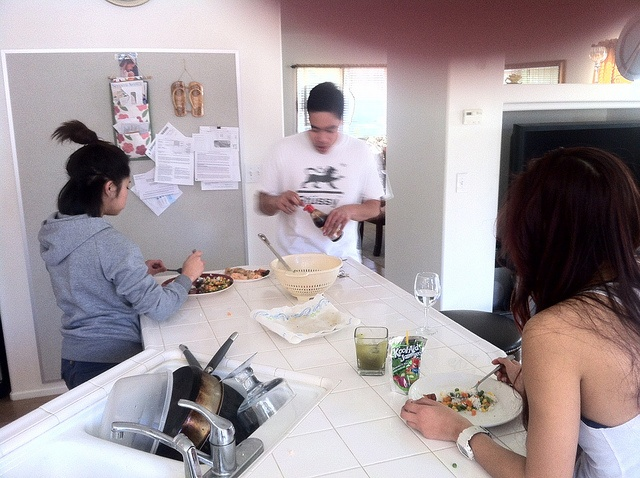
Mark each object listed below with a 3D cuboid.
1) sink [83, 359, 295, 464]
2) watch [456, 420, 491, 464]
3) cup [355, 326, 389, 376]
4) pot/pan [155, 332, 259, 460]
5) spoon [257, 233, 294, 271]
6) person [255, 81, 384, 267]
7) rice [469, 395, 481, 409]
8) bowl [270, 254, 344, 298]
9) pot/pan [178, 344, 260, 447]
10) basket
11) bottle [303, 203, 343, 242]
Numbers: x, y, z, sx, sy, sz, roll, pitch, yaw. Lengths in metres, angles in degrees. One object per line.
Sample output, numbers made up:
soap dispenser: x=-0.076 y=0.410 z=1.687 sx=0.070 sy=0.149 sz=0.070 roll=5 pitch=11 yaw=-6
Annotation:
sink: x=-0.341 y=0.437 z=1.227 sx=0.368 sy=0.132 sz=0.306 roll=-7 pitch=-2 yaw=-30
watch: x=0.355 y=0.471 z=1.062 sx=0.059 sy=0.069 sz=0.072 roll=4 pitch=24 yaw=40
cup: x=0.153 y=0.358 z=1.419 sx=0.138 sy=0.154 sz=0.138 roll=1 pitch=-13 yaw=0
pot/pan: x=-0.312 y=0.409 z=1.332 sx=0.126 sy=0.165 sz=0.362 roll=30 pitch=41 yaw=13
spoon: x=-0.261 y=0.064 z=2.619 sx=0.037 sy=0.257 sz=0.045 roll=-40 pitch=16 yaw=-23
person: x=0.000 y=-0.243 z=2.607 sx=0.742 sy=1.171 sz=0.599 roll=-1 pitch=24 yaw=-5
rice: x=0.420 y=0.444 z=1.219 sx=0.019 sy=0.026 sz=0.007 roll=-9 pitch=-20 yaw=-5
bowl: x=-0.074 y=0.180 z=2.018 sx=0.306 sy=0.156 sz=0.363 roll=0 pitch=13 yaw=7
pot/pan: x=-0.335 y=0.455 z=1.344 sx=0.158 sy=0.119 sz=0.329 roll=-1 pitch=9 yaw=-15
basket: x=-0.070 y=0.182 z=2.024 sx=0.296 sy=0.150 sz=0.312 roll=1 pitch=14 yaw=16
bottle: x=-0.007 y=-0.118 z=2.419 sx=0.175 sy=0.171 sz=0.359 roll=-5 pitch=15 yaw=-10
